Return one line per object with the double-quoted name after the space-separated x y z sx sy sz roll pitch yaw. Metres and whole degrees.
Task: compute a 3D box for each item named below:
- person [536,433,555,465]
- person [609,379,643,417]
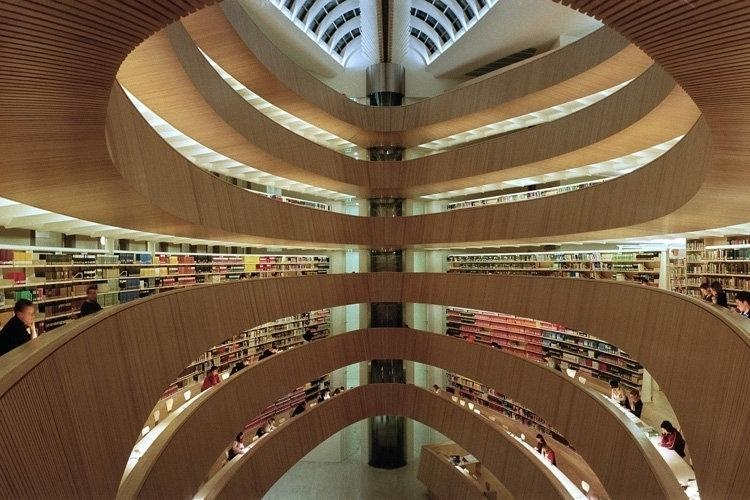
4.649 5.435 12.815 0.433 0.940 0.716 -10 -41 15 "person"
6.065 3.565 11.273 1.108 0.380 0.633 44 -37 -10 "person"
